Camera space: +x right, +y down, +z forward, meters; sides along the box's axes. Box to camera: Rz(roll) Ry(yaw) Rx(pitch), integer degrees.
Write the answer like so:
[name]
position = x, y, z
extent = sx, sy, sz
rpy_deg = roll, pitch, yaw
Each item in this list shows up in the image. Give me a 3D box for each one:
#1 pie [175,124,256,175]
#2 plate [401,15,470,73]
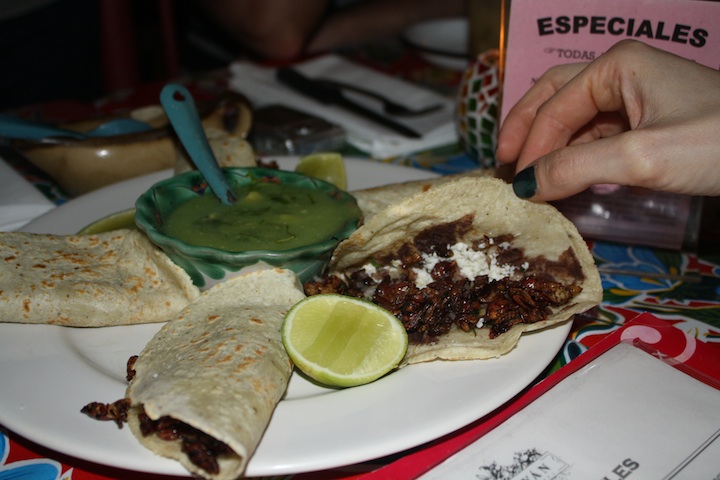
[pie]
position = -0.597, -0.369, 2.431
extent = 0.284, 0.086, 0.196
rpy_deg = -5, 38, -14
[plate]
position = 0.462, -1.215, 3.660
extent = 0.405, 0.123, 0.568
rpy_deg = 2, 49, 4
